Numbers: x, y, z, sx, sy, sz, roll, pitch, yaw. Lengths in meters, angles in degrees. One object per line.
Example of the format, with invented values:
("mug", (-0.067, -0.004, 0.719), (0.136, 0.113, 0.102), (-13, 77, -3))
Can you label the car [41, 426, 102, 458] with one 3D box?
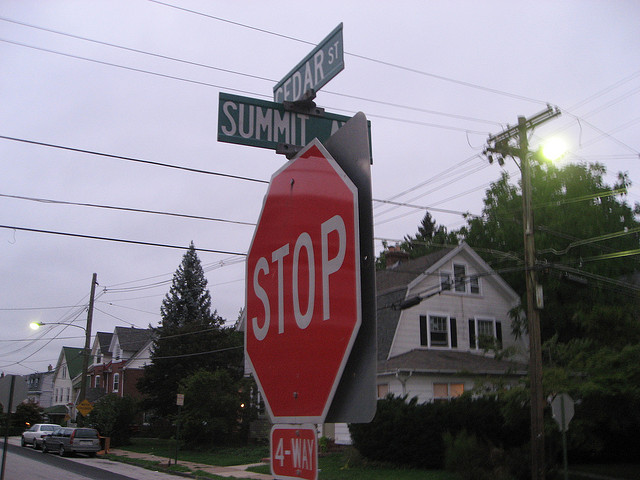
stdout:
("car", (-15.714, 12.712, 40.292), (2.178, 1.775, 5.716), (19, -27, -40))

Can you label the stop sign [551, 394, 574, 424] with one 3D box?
("stop sign", (9.375, 6.563, 24.877), (0.754, 1.123, 0.591), (-11, -22, 32))
